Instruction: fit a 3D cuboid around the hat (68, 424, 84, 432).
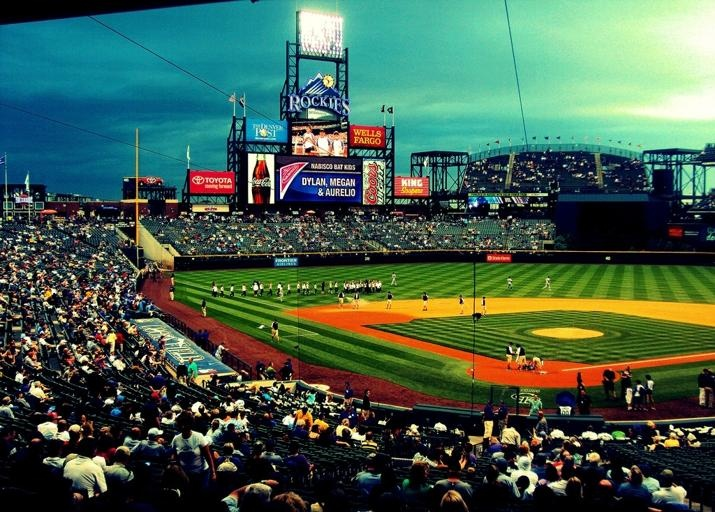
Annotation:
[{"bbox_3d":[-8.048,4.919,25.029,0.298,0.181,0.277,5,5,22],"label":"hat"}]
